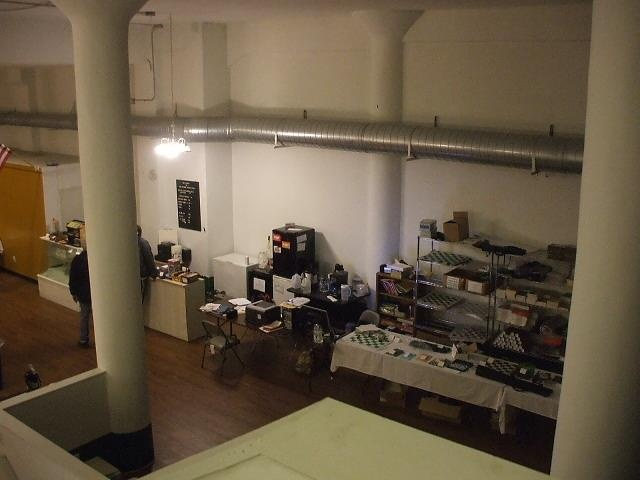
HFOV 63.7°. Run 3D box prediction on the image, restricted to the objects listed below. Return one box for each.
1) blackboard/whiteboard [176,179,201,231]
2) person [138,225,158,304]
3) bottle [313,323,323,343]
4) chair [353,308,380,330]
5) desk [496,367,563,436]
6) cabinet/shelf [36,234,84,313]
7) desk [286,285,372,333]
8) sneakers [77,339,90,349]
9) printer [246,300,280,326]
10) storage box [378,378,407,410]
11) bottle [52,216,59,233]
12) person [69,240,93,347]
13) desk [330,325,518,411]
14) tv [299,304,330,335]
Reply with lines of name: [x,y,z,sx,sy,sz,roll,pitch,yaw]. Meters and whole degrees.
blackboard/whiteboard: [-2.956,-0.828,11.637,0.978,1.409,0.058,8,15,34]
person: [-3.323,0.531,9.965,0.341,1.530,0.600,0,7,-18]
bottle: [-0.025,1.708,9.225,0.167,0.382,0.224,3,7,8]
chair: [0.826,1.414,9.198,0.292,0.444,0.327,3,9,16]
desk: [2.894,2.150,7.050,0.796,0.538,0.822,12,22,33]
cabinet/shelf: [-5.448,0.722,10.859,1.272,1.308,0.663,13,19,33]
desk: [0.270,1.381,9.971,0.990,0.771,0.813,8,13,38]
sneakers: [-4.365,1.903,9.506,0.276,0.120,0.103,27,39,29]
printer: [-0.995,1.278,8.904,0.368,0.268,0.502,-10,12,-38]
storage box: [1.126,2.392,8.005,0.373,0.391,0.175,5,-4,23]
bottle: [-5.958,-0.340,11.611,0.120,0.330,0.157,-1,7,-19]
person: [-4.388,1.091,9.507,0.399,1.727,0.268,3,7,9]
desk: [1.554,2.314,8.117,2.127,0.526,0.975,15,31,30]
tv: [-0.116,1.480,9.620,0.387,0.720,0.413,14,35,30]
